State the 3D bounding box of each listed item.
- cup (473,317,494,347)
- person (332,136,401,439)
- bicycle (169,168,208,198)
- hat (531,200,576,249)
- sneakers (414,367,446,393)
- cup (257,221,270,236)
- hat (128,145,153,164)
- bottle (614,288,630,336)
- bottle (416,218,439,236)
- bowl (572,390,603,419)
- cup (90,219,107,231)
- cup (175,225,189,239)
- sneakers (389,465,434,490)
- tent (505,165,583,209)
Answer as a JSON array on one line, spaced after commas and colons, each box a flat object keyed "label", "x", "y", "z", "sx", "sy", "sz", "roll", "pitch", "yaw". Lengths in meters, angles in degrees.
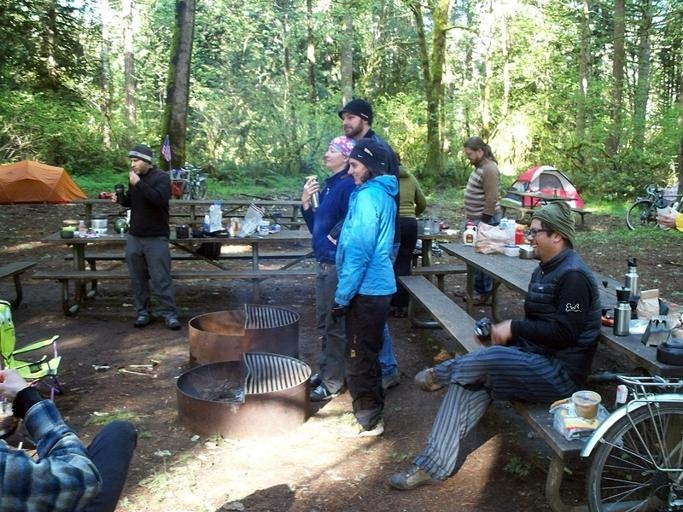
[{"label": "cup", "x": 1.136, "y": 0.593, "z": 4.679, "sx": 0.178, "sy": 0.188, "sz": 0.212, "roll": 1, "pitch": 28, "yaw": 9}, {"label": "person", "x": 0.180, "y": 0.412, "z": 4.619, "sx": 0.568, "sy": 2.080, "sz": 0.360, "roll": -3, "pitch": 11, "yaw": -14}, {"label": "bicycle", "x": -3.966, "y": -1.854, "z": 15.187, "sx": 1.179, "sy": 0.413, "sz": 1.324, "roll": 1, "pitch": 9, "yaw": -6}, {"label": "hat", "x": 1.555, "y": -0.300, "z": 4.239, "sx": 0.277, "sy": 0.172, "sz": 0.232, "roll": 3, "pitch": -32, "yaw": 0}, {"label": "sneakers", "x": 0.733, "y": 1.069, "z": 4.930, "sx": 0.275, "sy": 0.138, "sz": 0.313, "roll": -6, "pitch": -3, "yaw": 16}, {"label": "cup", "x": -1.057, "y": -0.382, "z": 8.086, "sx": 0.236, "sy": 0.187, "sz": 0.197, "roll": -1, "pitch": 9, "yaw": -4}, {"label": "hat", "x": -2.403, "y": -1.216, "z": 6.914, "sx": 0.245, "sy": 0.212, "sz": 0.302, "roll": 5, "pitch": 1, "yaw": 30}, {"label": "bottle", "x": 1.999, "y": 0.387, "z": 4.140, "sx": 0.109, "sy": 0.323, "sz": 0.276, "roll": 5, "pitch": 11, "yaw": 24}, {"label": "bottle", "x": 1.174, "y": -0.383, "z": 7.960, "sx": 0.468, "sy": 0.238, "sz": 0.229, "roll": 0, "pitch": 2, "yaw": -23}, {"label": "bowl", "x": 1.570, "y": 0.952, "z": 3.746, "sx": 0.191, "sy": 0.088, "sz": 0.163, "roll": -3, "pitch": 13, "yaw": 4}, {"label": "cup", "x": -3.251, "y": -0.418, "z": 7.811, "sx": 0.197, "sy": 0.114, "sz": 0.188, "roll": 2, "pitch": 8, "yaw": 0}, {"label": "cup", "x": -2.198, "y": -0.327, "z": 7.842, "sx": 0.268, "sy": 0.190, "sz": 0.232, "roll": 1, "pitch": 3, "yaw": 3}, {"label": "sneakers", "x": 0.476, "y": 1.537, "z": 4.069, "sx": 0.368, "sy": 0.116, "sz": 0.129, "roll": 0, "pitch": 12, "yaw": -14}, {"label": "tent", "x": 5.748, "y": -2.105, "z": 16.926, "sx": 2.374, "sy": 0.853, "sz": 2.027, "roll": -6, "pitch": 21, "yaw": -30}]
